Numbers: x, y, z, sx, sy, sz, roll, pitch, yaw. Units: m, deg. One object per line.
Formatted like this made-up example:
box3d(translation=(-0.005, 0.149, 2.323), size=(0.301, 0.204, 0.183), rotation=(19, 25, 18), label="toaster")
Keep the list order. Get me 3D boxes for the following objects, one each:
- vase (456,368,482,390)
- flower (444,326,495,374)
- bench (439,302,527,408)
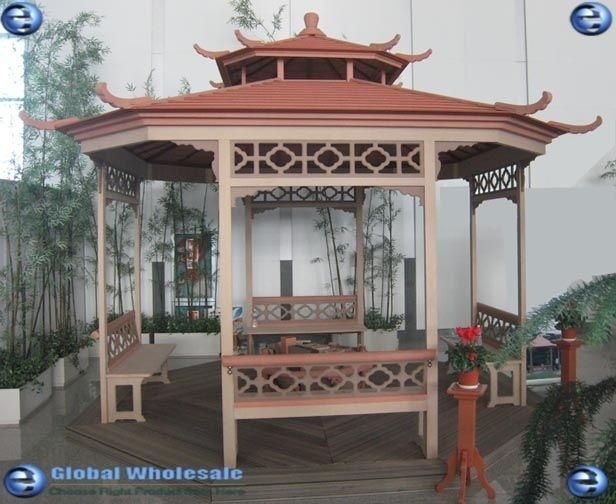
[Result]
box3d(translation=(1.455, 1.130, 5.754), size=(0.211, 0.184, 0.177), rotation=(0, -4, 0), label="vase")
box3d(translation=(1.437, 0.886, 5.748), size=(0.319, 0.416, 0.302), rotation=(-1, -4, 14), label="flower")
box3d(translation=(1.899, 1.125, 6.821), size=(0.339, 0.736, 1.331), rotation=(1, 1, 3), label="bench")
